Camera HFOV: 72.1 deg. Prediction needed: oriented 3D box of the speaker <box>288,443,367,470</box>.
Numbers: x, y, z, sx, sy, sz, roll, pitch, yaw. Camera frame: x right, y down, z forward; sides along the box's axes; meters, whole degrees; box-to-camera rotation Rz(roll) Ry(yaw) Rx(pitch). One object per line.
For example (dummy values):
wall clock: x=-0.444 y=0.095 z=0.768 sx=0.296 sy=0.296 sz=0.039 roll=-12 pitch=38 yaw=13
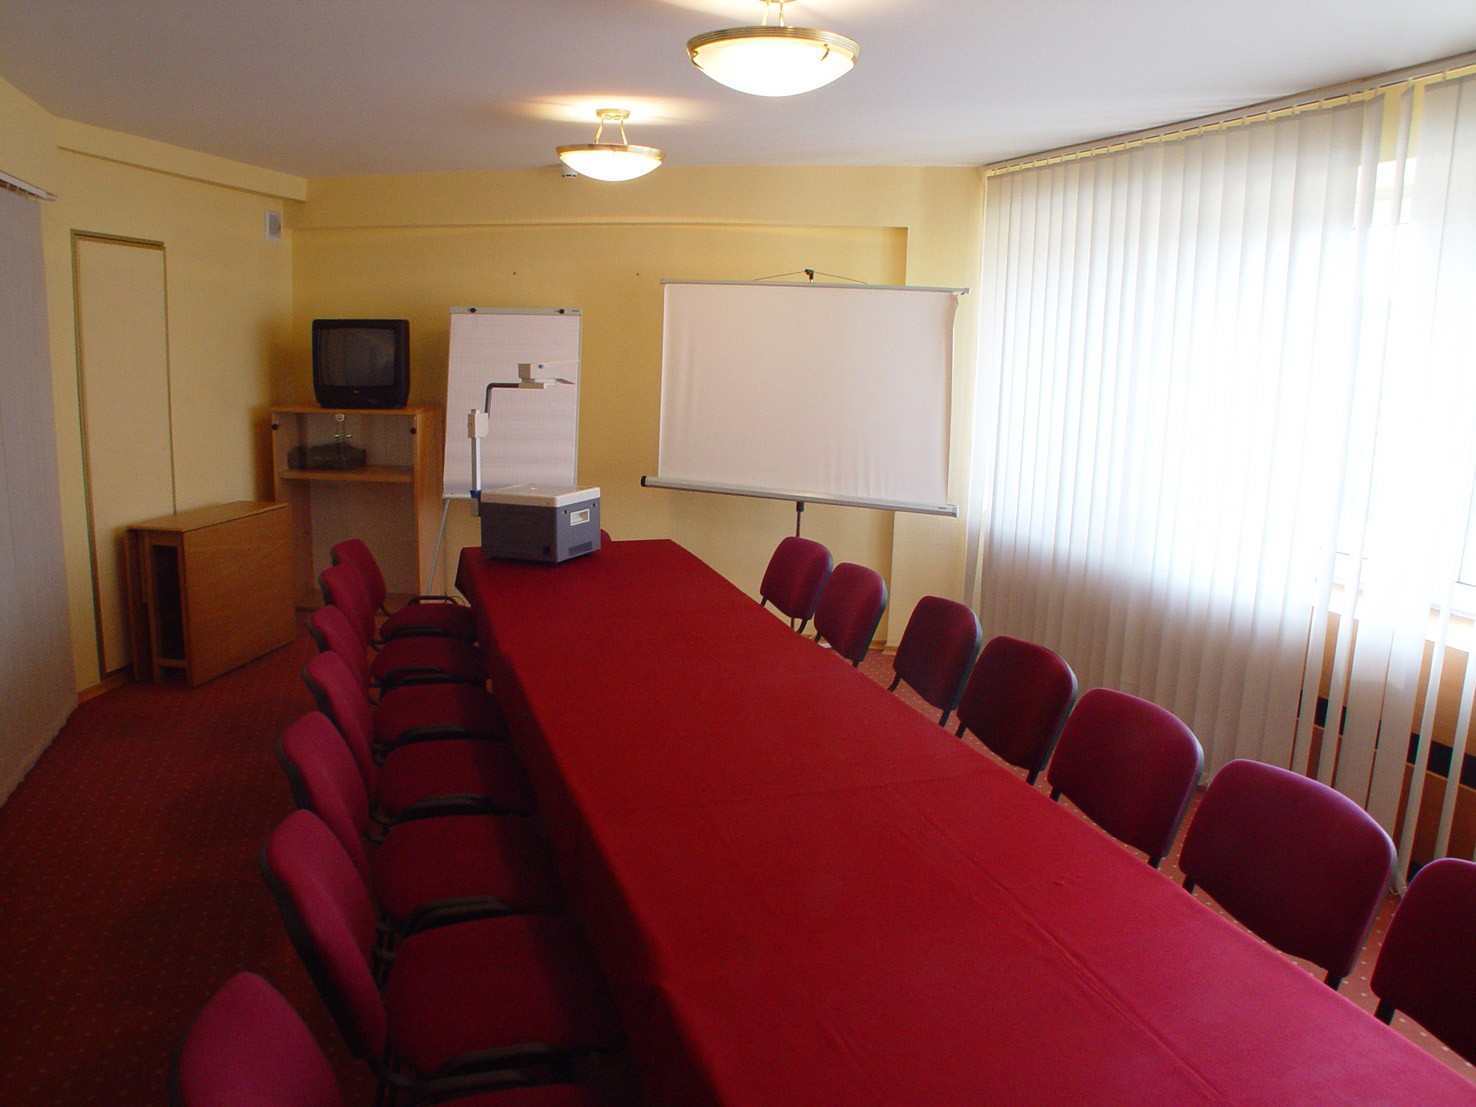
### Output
speaker: x=-2.790 y=-0.660 z=6.802 sx=0.504 sy=0.190 sz=0.194 roll=2 pitch=13 yaw=-2

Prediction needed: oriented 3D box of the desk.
desk: x=-3.034 y=0.213 z=5.957 sx=0.303 sy=0.875 sz=0.909 roll=4 pitch=10 yaw=14

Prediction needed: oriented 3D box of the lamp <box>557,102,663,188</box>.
lamp: x=-0.697 y=-2.072 z=5.319 sx=0.369 sy=0.279 sz=0.439 roll=-1 pitch=5 yaw=-12

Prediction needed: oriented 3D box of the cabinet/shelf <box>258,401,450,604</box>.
cabinet/shelf: x=-2.590 y=-0.233 z=6.885 sx=0.997 sy=1.672 sz=0.747 roll=0 pitch=12 yaw=-10
